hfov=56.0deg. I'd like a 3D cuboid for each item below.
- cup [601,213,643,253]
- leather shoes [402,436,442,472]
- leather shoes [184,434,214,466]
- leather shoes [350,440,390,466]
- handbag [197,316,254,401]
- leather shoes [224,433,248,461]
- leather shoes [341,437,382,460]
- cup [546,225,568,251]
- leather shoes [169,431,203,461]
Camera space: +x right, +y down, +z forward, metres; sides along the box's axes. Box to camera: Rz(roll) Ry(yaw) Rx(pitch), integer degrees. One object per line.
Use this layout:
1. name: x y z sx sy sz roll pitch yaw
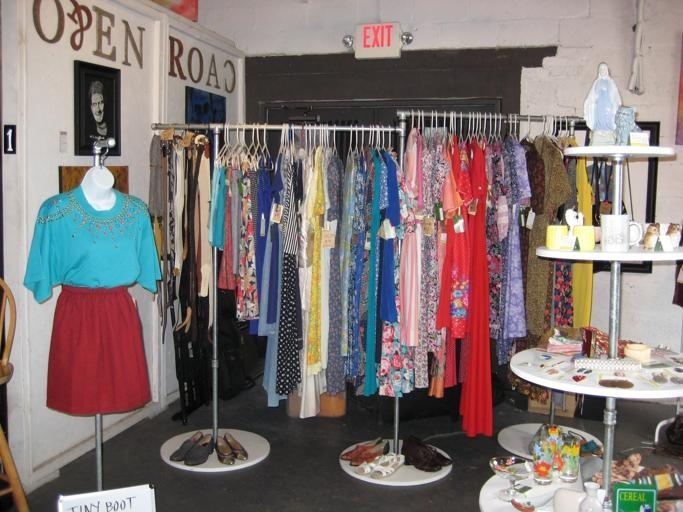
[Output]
1. cup: 1.338 -0.116 3.120 0.236 0.259 0.161 1 4 15
2. leather shoes: 0.552 1.376 4.485 0.227 0.110 0.143 12 16 41
3. leather shoes: -1.010 1.368 4.559 0.148 0.086 0.295 4 12 12
4. leather shoes: 0.213 1.386 4.591 0.106 0.087 0.289 -2 3 39
5. handbag: -1.020 0.870 5.675 0.258 0.744 0.840 4 11 17
6. leather shoes: -0.759 1.359 4.638 0.084 0.080 0.255 -1 11 -29
7. leather shoes: 0.185 1.383 4.600 0.123 0.055 0.228 -2 8 45
8. cup: 1.083 -0.095 3.217 0.093 0.122 0.102 1 0 0
9. leather shoes: -1.118 1.343 4.599 0.085 0.073 0.245 1 16 27
